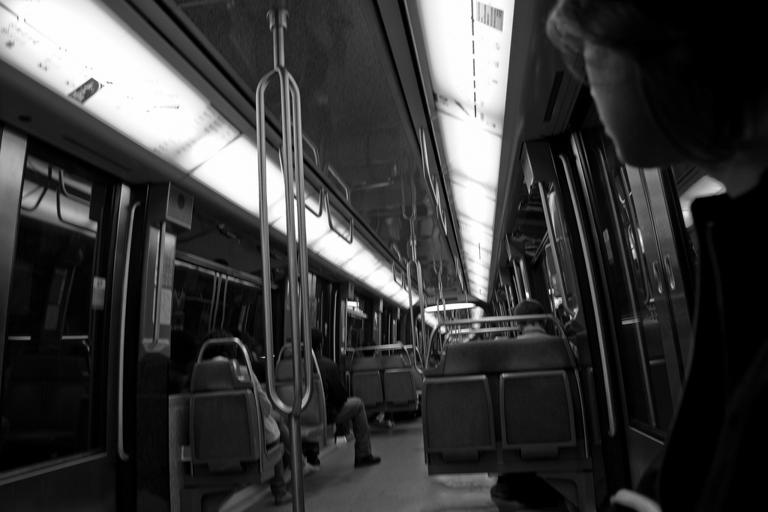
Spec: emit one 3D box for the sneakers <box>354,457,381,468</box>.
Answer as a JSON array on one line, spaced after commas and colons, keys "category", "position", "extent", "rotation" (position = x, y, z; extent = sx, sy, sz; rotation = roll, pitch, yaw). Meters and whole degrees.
[{"category": "sneakers", "position": [-0.213, 2.586, 6.690], "extent": [0.349, 0.162, 0.129], "rotation": [-4, -7, -7]}]
